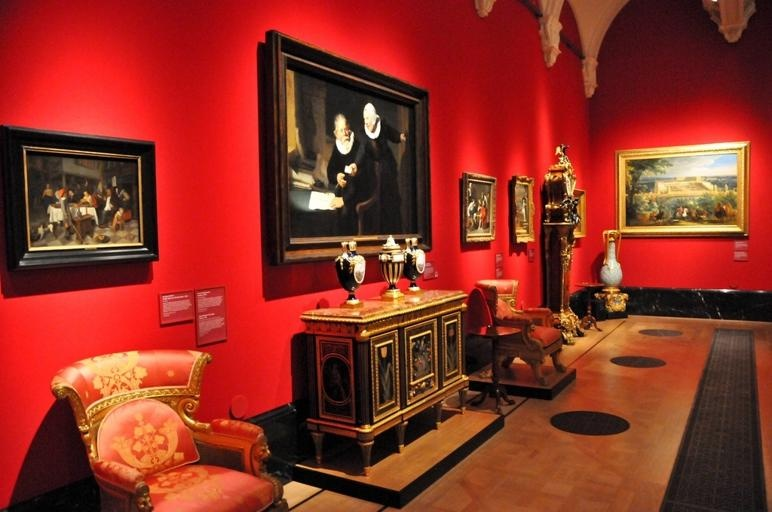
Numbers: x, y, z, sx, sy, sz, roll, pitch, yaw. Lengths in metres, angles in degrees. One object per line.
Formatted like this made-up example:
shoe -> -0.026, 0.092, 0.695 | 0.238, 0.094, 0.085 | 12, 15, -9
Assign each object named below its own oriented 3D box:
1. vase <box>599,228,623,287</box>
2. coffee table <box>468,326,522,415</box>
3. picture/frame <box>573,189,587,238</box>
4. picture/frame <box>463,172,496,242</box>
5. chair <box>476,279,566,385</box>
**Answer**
vase -> 5.457, 0.111, 12.946 | 0.474, 1.382, 1.156 | 5, 9, 24
coffee table -> 1.456, 1.499, 7.256 | 0.578, 1.113, 1.257 | 3, 9, 17
picture/frame -> 4.391, -0.986, 12.254 | 0.110, 1.330, 1.237 | 0, 3, 31
picture/frame -> 1.453, -0.783, 8.508 | 0.124, 1.194, 1.142 | 3, 3, 33
chair -> 1.974, 1.083, 8.417 | 1.361, 1.619, 1.388 | -2, 0, 33
